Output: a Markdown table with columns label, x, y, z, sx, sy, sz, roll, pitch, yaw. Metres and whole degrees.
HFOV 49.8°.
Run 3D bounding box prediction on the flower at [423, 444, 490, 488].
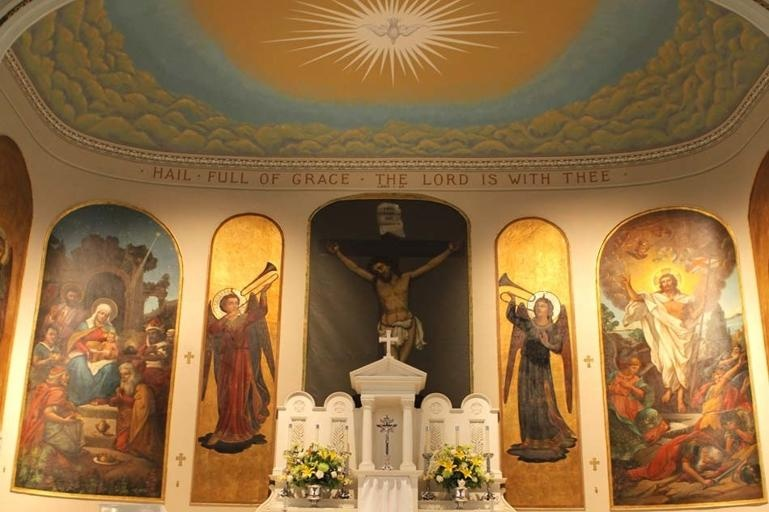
| label | x | y | z | sx | sy | sz | roll | pitch | yaw |
| --- | --- | --- | --- | --- | --- | --- | --- | --- | --- |
| flower | 1.252 | 3.627 | 14.203 | 1.035 | 0.635 | 0.974 | -4 | -7 | 24 |

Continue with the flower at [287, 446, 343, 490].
| label | x | y | z | sx | sy | sz | roll | pitch | yaw |
| --- | --- | --- | --- | --- | --- | --- | --- | --- | --- |
| flower | -1.236 | 3.499 | 14.184 | 0.915 | 0.644 | 0.990 | -3 | -4 | 34 |

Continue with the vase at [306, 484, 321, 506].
| label | x | y | z | sx | sy | sz | roll | pitch | yaw |
| --- | --- | --- | --- | --- | --- | --- | --- | --- | --- |
| vase | -1.183 | 3.981 | 13.852 | 0.242 | 0.331 | 0.360 | 2 | -23 | -4 |
